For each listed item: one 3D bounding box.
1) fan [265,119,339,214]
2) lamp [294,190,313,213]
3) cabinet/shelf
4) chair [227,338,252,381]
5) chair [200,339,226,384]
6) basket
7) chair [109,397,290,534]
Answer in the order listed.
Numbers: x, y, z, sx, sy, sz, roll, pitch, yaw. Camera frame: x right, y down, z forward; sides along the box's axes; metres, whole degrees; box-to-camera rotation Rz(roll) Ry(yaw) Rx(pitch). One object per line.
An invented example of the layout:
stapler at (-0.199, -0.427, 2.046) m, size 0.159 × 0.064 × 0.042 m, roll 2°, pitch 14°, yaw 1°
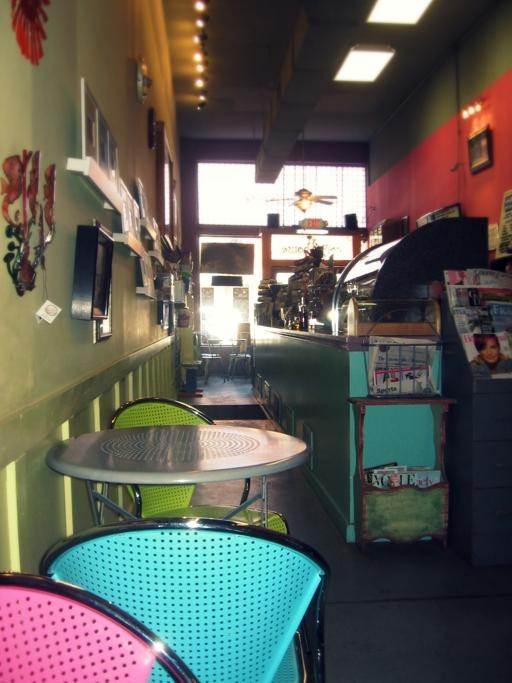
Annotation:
fan at (0.898, -3.294, 9.857) m, size 1.647 × 0.827 × 1.788 m, roll 0°, pitch 2°, yaw 1°
lamp at (0.758, -2.312, 8.598) m, size 0.268 × 0.326 × 0.503 m, roll -1°, pitch 1°, yaw 0°
cabinet/shelf at (0.652, 0.578, 2.385) m, size 0.434 × 0.657 × 0.286 m, roll 0°, pitch 1°, yaw 9°
chair at (-0.288, 0.339, 10.262) m, size 0.571 × 1.055 × 0.653 m, roll 0°, pitch 11°, yaw -5°
chair at (-0.870, 0.342, 10.509) m, size 0.549 × 0.963 × 0.584 m, roll 0°, pitch 0°, yaw -5°
basket at (0.688, -0.037, 2.512) m, size 0.360 × 0.538 × 0.379 m, roll 1°, pitch 18°, yaw 18°
chair at (-0.193, 0.296, 1.924) m, size 0.445 × 0.695 × 0.474 m, roll -3°, pitch 0°, yaw 32°
